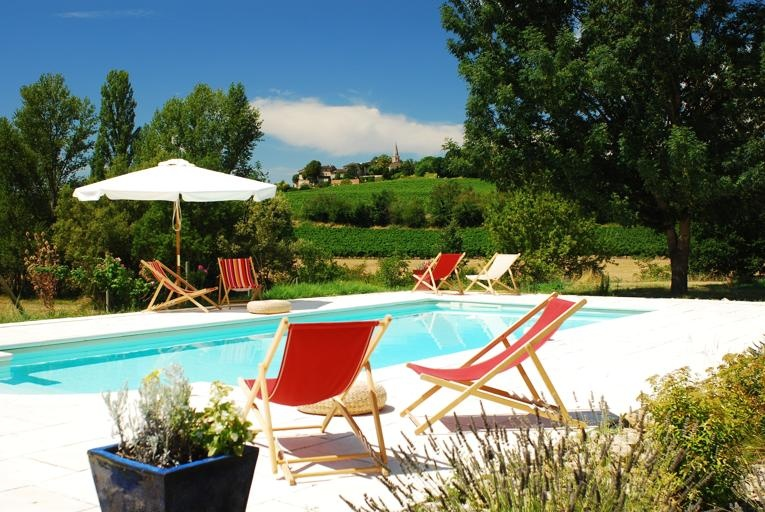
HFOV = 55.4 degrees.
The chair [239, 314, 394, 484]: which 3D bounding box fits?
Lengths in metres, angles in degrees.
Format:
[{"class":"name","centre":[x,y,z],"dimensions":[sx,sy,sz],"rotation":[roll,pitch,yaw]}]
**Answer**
[{"class":"chair","centre":[-0.952,1.990,10.496],"dimensions":[2.001,2.290,1.037],"rotation":[0,3,-1]}]

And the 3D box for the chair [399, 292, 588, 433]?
[{"class":"chair","centre":[1.611,1.608,11.536],"dimensions":[2.489,2.046,1.881],"rotation":[-2,-3,0]}]
